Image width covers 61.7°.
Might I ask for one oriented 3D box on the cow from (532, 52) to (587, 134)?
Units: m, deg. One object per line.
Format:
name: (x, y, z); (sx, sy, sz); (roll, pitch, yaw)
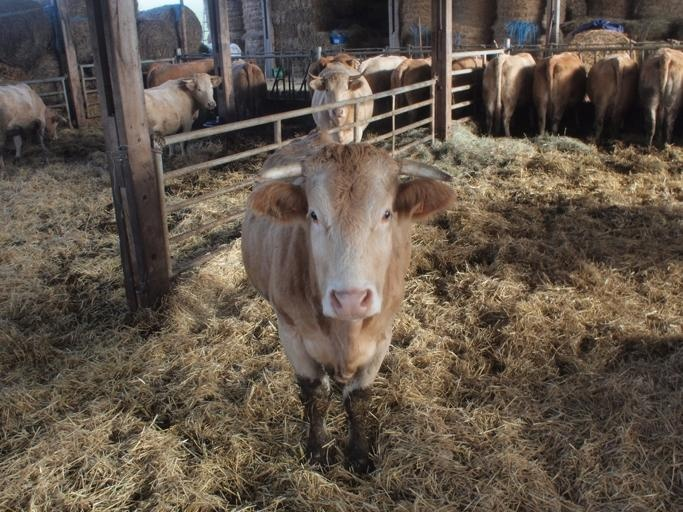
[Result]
cow: (3.604, -2.719, 9.512); (0.644, 1.203, 1.818); (6, 56, 23)

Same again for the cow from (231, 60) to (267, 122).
cow: (-1.889, -3.344, 11.612); (0.492, 0.821, 1.597); (-2, 43, -5)

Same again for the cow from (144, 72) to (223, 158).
cow: (-2.736, -2.474, 9.671); (0.776, 0.976, 1.714); (8, 27, 25)

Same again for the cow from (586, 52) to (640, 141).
cow: (4.339, -2.576, 9.352); (1.070, 1.199, 0.615); (-18, 26, -31)

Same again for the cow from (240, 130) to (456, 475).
cow: (-0.106, 0.094, 4.710); (1.049, 2.296, 3.415); (1, 17, -7)
